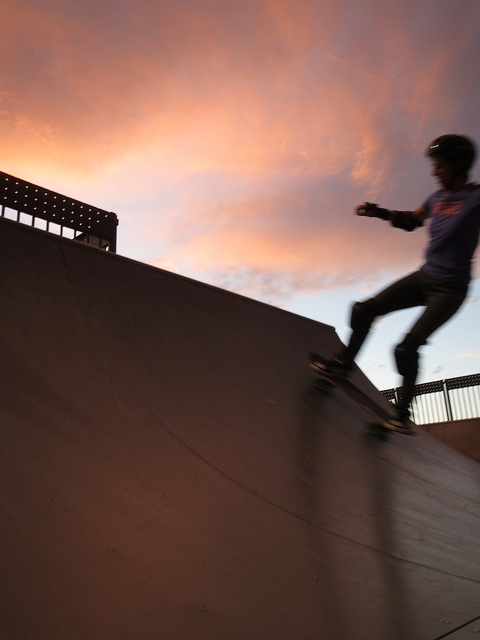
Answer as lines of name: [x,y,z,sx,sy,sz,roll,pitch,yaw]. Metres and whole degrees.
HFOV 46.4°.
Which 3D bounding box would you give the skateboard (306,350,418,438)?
skateboard: [0.655,0.490,3.820,0.282,0.166,1.136,-4,34,-44]
